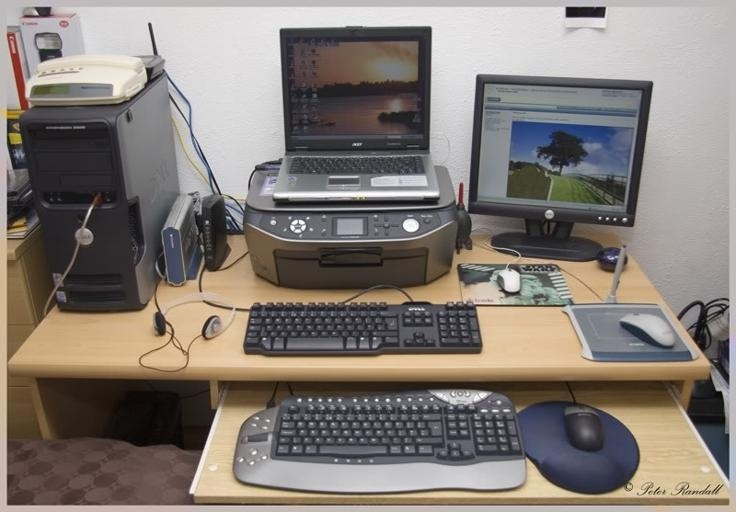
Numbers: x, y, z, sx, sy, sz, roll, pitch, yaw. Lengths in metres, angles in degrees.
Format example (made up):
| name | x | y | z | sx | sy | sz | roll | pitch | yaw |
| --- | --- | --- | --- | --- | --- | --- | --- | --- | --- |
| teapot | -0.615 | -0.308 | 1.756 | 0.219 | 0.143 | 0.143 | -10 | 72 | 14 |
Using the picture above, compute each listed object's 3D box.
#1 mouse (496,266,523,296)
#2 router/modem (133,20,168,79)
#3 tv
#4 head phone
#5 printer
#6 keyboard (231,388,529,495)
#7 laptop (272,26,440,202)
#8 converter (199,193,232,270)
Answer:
| name | x | y | z | sx | sy | sz | roll | pitch | yaw |
| --- | --- | --- | --- | --- | --- | --- | --- | --- | --- |
| mouse | 0.420 | 0.073 | 1.582 | 0.061 | 0.033 | 0.084 | -2 | 35 | 2 |
| router/modem | -0.646 | -0.609 | 1.614 | 0.064 | 0.171 | 0.239 | -11 | 23 | -17 |
| tv | 0.586 | -0.292 | 1.684 | 0.674 | 0.600 | 0.232 | 4 | 28 | 8 |
| head phone | -0.483 | 0.169 | 1.500 | 0.238 | 0.052 | 0.192 | 0 | 20 | 4 |
| printer | -0.043 | -0.102 | 1.657 | 0.660 | 0.191 | 0.354 | 0 | 39 | -1 |
| keyboard | 0.037 | 0.437 | 1.310 | 0.671 | 0.056 | 0.246 | -1 | 47 | 0 |
| laptop | -0.032 | -0.389 | 1.564 | 0.534 | 0.364 | 0.336 | 6 | 43 | 5 |
| converter | -0.505 | -0.085 | 1.744 | 0.105 | 0.225 | 0.250 | -4 | 22 | -14 |
